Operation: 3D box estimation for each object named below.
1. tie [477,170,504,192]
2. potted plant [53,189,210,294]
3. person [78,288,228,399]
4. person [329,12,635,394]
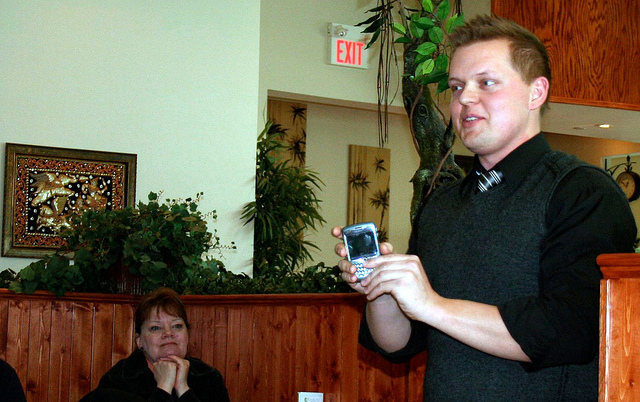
[{"bbox_3d":[0.683,-0.083,2.537,0.090,0.069,0.034,-33,-46,31],"label":"tie"},{"bbox_3d":[-1.425,0.307,4.727,0.940,0.734,1.149,19,8,34],"label":"potted plant"},{"bbox_3d":[-1.082,0.930,4.147,1.024,0.876,0.607,4,-18,-19],"label":"person"},{"bbox_3d":[0.626,-0.005,2.424,1.012,1.487,0.495,-3,-4,25],"label":"person"}]
